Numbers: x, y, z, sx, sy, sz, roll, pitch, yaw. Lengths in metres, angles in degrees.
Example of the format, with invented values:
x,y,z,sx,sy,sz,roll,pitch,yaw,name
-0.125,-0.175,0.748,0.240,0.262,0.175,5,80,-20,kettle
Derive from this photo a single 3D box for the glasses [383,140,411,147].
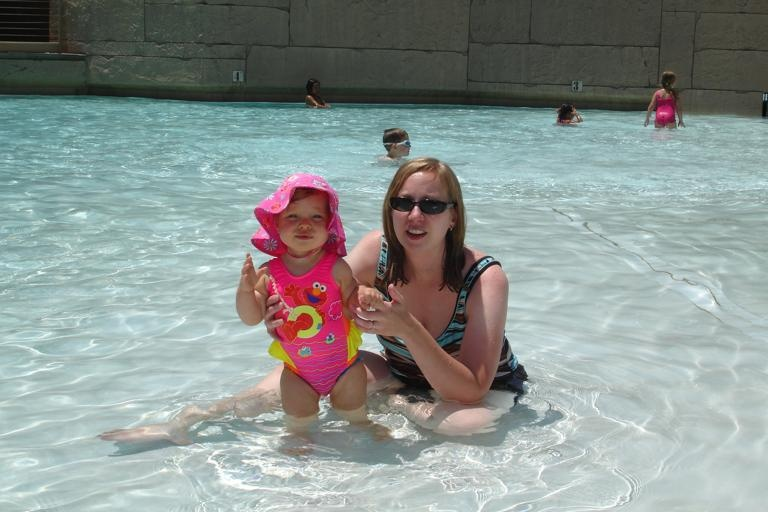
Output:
x,y,z,sx,sy,sz,roll,pitch,yaw,name
0.169,-1.381,8.079,0.298,0.067,0.181,0,9,-3,glasses

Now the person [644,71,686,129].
x,y,z,sx,sy,sz,roll,pitch,yaw,name
5.253,-2.899,12.349,0.537,1.025,0.763,5,13,17,person

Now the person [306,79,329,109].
x,y,z,sx,sy,sz,roll,pitch,yaw,name
-1.460,-3.567,14.582,0.464,0.671,0.592,0,12,-3,person

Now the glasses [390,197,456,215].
x,y,z,sx,sy,sz,roll,pitch,yaw,name
0.174,-0.234,3.066,0.295,0.075,0.088,1,11,3,glasses
